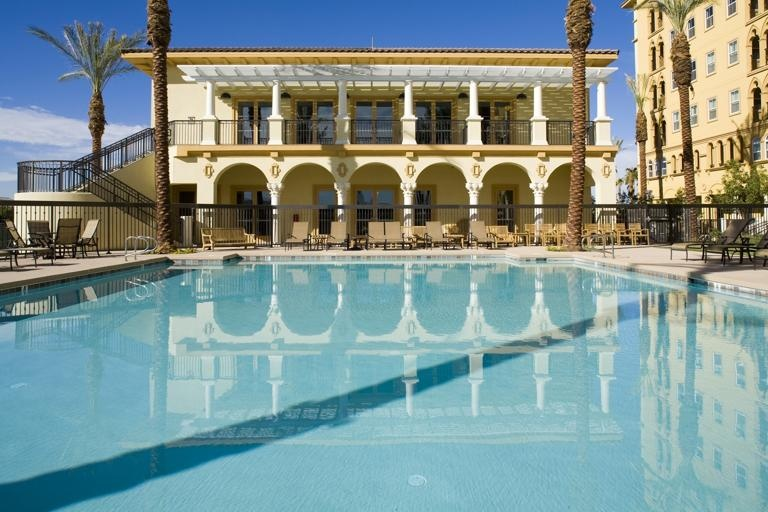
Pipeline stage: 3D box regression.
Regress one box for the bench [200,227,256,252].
[{"bbox_3d":[-5.867,-0.682,24.681,1.227,0.884,2.707,6,10,41],"label":"bench"}]
